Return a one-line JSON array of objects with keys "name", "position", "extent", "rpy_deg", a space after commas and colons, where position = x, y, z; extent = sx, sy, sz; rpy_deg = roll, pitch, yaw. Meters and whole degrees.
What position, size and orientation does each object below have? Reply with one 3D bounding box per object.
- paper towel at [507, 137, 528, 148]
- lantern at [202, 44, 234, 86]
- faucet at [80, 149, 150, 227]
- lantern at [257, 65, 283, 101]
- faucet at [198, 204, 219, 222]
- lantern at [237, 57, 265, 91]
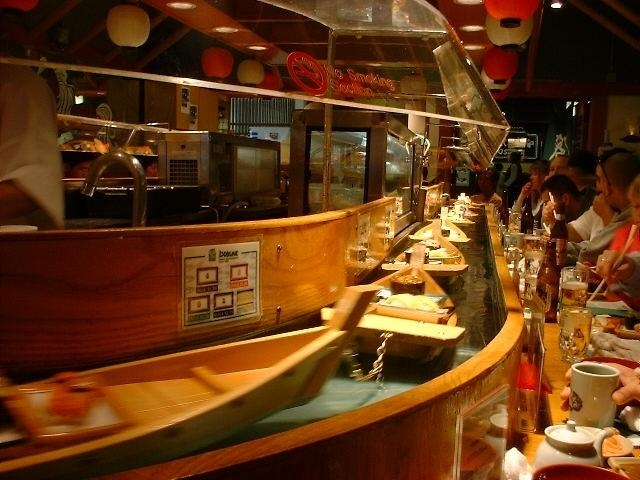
[{"name": "paper towel", "position": [5.910, -2.924, 14.097], "extent": [0.814, 0.396, 0.587], "rpy_deg": [2, 12, 9]}, {"name": "lantern", "position": [-0.243, -0.419, 1.117], "extent": [0.041, 0.084, 0.073], "rpy_deg": [6, 8, 41]}, {"name": "faucet", "position": [-0.543, -0.150, 1.328], "extent": [0.163, 0.212, 0.185], "rpy_deg": [3, 6, 16]}, {"name": "lantern", "position": [-0.119, -0.400, 1.171], "extent": [0.058, 0.056, 0.060], "rpy_deg": [18, 20, 41]}, {"name": "faucet", "position": [-0.521, -0.122, 2.243], "extent": [0.097, 0.079, 0.704], "rpy_deg": [0, 6, -12]}, {"name": "lantern", "position": [-0.168, -0.414, 1.159], "extent": [0.066, 0.061, 0.066], "rpy_deg": [4, 21, 1]}]
